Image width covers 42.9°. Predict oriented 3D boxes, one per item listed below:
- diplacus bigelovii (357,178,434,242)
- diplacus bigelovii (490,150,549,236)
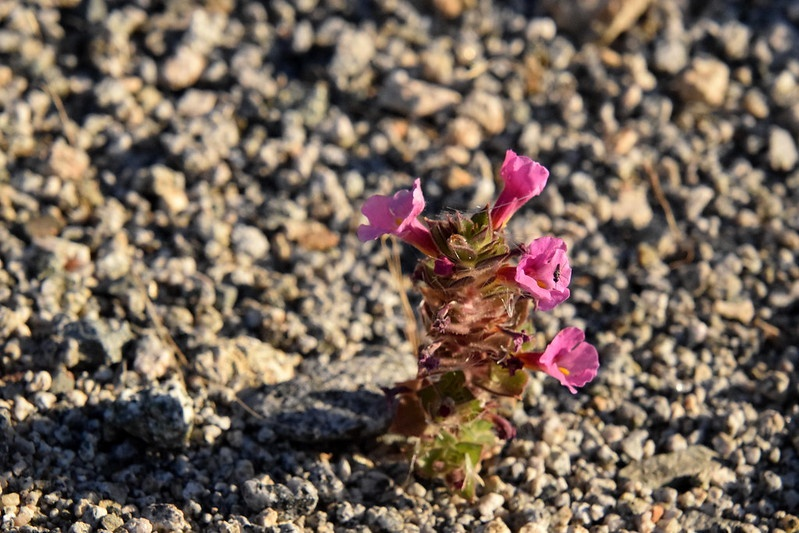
[{"bbox_3d":[-0.024,-0.310,5.323,0.430,0.203,0.415,-30,5,7],"label":"diplacus bigelovii"},{"bbox_3d":[0.613,-0.360,5.276,0.227,0.355,0.246,19,40,4],"label":"diplacus bigelovii"}]
